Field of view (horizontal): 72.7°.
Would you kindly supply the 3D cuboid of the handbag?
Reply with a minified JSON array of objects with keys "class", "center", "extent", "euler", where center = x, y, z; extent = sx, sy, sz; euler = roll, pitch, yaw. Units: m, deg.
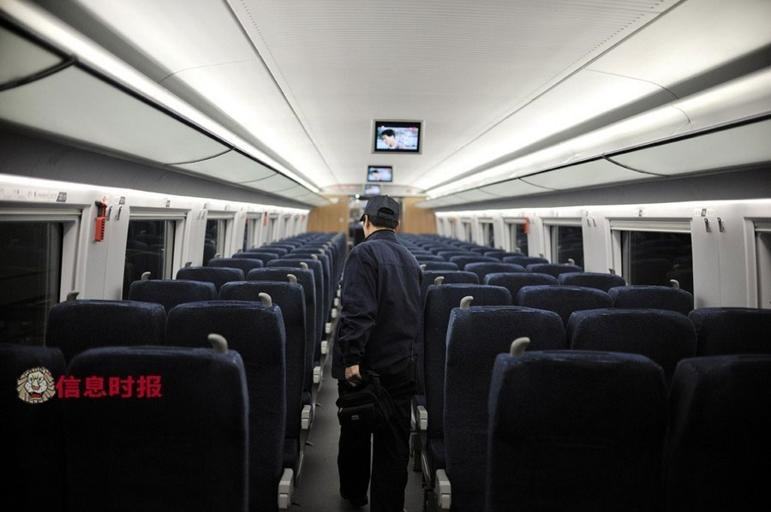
[{"class":"handbag","center":[-0.042,1.010,3.681],"extent":[0.370,0.475,0.485],"euler":[-23,-26,23]}]

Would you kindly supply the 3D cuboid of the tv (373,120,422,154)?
[{"class":"tv","center":[0.187,-1.817,8.029],"extent":[0.734,0.416,0.543],"euler":[1,-4,-3]}]

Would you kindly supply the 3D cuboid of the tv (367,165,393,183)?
[{"class":"tv","center":[-0.157,-2.389,14.355],"extent":[0.810,0.499,0.393],"euler":[1,2,1]}]
